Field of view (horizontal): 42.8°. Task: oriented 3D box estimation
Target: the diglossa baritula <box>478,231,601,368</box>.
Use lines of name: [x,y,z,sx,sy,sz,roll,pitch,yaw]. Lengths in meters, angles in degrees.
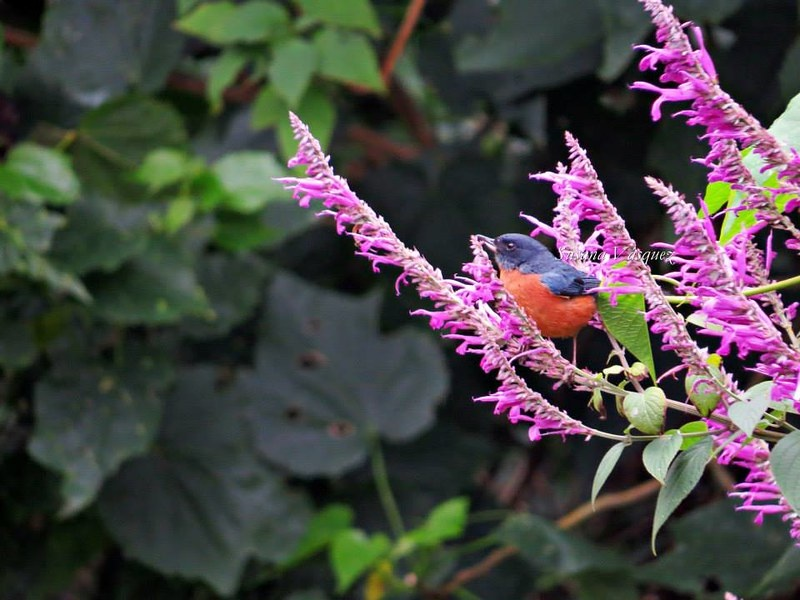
diglossa baritula: [0.135,-0.002,0.910,0.148,0.112,0.071,-4,-2,-30]
